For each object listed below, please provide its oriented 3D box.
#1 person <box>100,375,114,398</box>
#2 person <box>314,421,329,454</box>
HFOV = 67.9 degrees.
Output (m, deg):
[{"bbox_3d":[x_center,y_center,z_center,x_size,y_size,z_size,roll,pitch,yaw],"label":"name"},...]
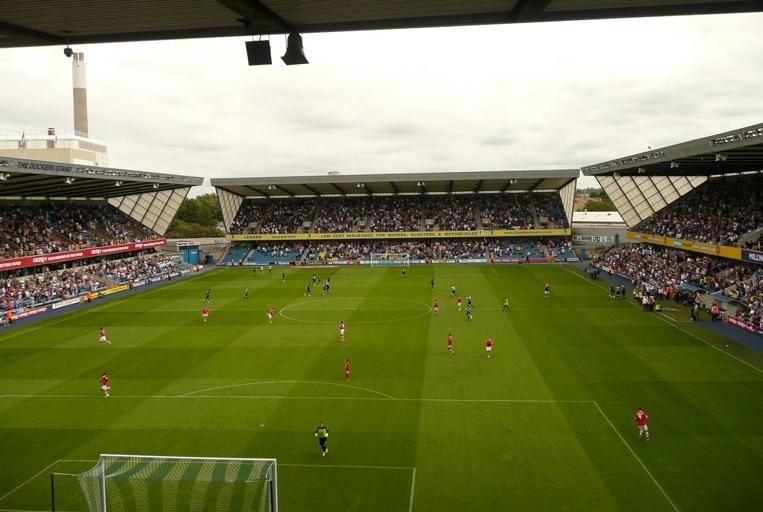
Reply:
[{"bbox_3d":[-16.160,7.581,33.454,0.467,1.364,1.166,-8,10,-28],"label":"person"},{"bbox_3d":[-2.863,8.894,28.129,0.571,1.514,1.357,-4,8,-8],"label":"person"}]
